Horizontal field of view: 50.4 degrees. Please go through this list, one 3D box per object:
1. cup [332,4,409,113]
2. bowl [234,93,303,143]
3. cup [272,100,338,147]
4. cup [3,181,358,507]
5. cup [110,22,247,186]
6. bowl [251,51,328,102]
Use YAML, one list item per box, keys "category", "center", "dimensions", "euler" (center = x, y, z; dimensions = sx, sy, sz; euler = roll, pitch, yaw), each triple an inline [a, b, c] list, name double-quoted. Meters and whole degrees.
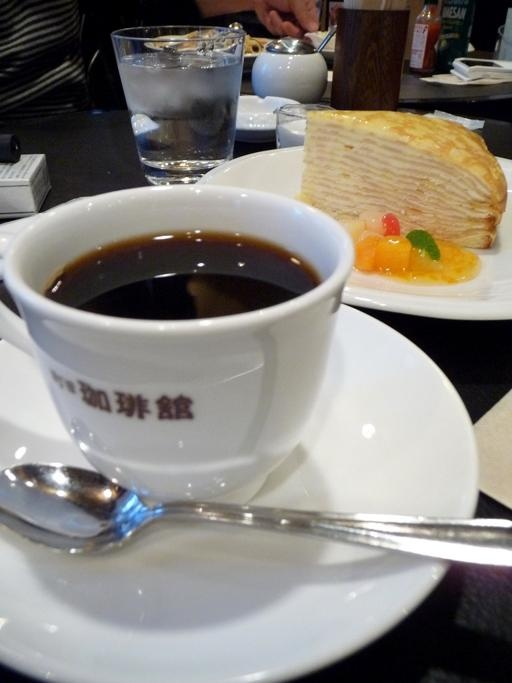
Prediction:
- category: "cup"
  center: [0.263, -0.661, 1.296]
  dimensions: [0.172, 0.233, 0.154]
  euler: [8, 42, 5]
- category: "bowl"
  center: [0.016, -0.588, 1.421]
  dimensions: [0.184, 0.047, 0.180]
  euler: [1, 35, -1]
- category: "cup"
  center: [0.080, -0.493, 1.242]
  dimensions: [0.088, 0.062, 0.070]
  euler: [24, 43, 37]
- category: "cup"
  center: [-0.079, 0.012, 0.421]
  dimensions: [0.253, 0.173, 0.204]
  euler: [16, 38, 24]
- category: "cup"
  center: [-0.133, -0.469, 1.094]
  dimensions: [0.287, 0.307, 0.289]
  euler: [0, 34, 0]
- category: "bowl"
  center: [0.099, -0.760, 1.636]
  dimensions: [0.184, 0.142, 0.184]
  euler: [3, 23, -1]
